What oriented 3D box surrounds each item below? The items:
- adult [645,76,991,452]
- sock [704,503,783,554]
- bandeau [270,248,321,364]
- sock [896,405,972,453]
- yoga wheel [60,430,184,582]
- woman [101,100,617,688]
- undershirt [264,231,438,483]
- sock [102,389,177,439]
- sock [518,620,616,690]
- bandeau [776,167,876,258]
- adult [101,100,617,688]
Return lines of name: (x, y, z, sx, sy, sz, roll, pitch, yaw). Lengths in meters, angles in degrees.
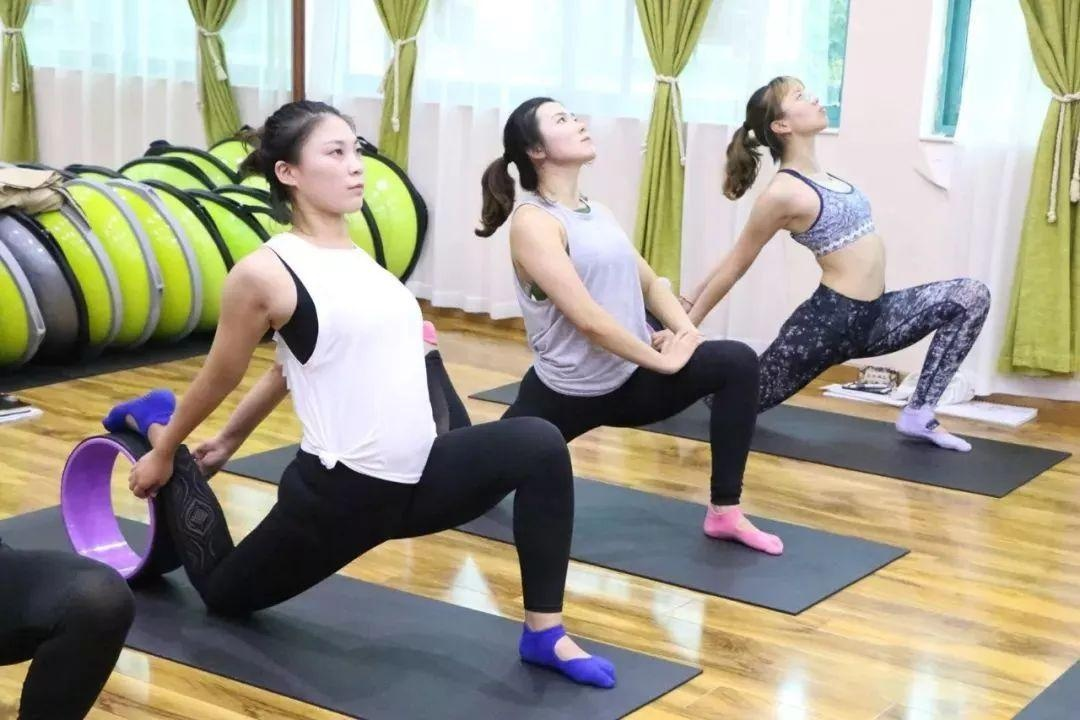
adult: (1.100, -0.378, 3.506, 1.602, 1.573, 0.736, -4, 5, 15)
sock: (0.618, 0.511, 2.490, 0.308, 0.136, 0.100, 6, 10, 28)
bandeau: (-0.491, -0.099, 1.590, 0.110, 0.206, 0.036, 17, 25, 37)
sock: (1.643, 0.272, 3.408, 0.373, 0.184, 0.133, 12, 14, 16)
yoga wheel: (-1.044, 0.371, 1.969, 0.332, 0.334, 0.129, 17, 24, 37)
woman: (-0.471, 0.082, 1.814, 1.399, 1.193, 0.509, -1, 1, 18)
undershirt: (-0.391, -0.001, 1.650, 0.302, 0.487, 0.245, -4, 20, -17)
sock: (-1.028, 0.138, 1.943, 0.191, 0.079, 0.062, 3, 43, 42)
sock: (0.046, 0.643, 1.800, 0.256, 0.115, 0.096, 8, 12, 24)
bandeau: (1.168, -0.595, 3.183, 0.368, 0.336, 0.173, -3, 20, -15)
adult: (-0.467, 0.072, 1.818, 1.401, 1.198, 0.499, -1, 1, 20)
